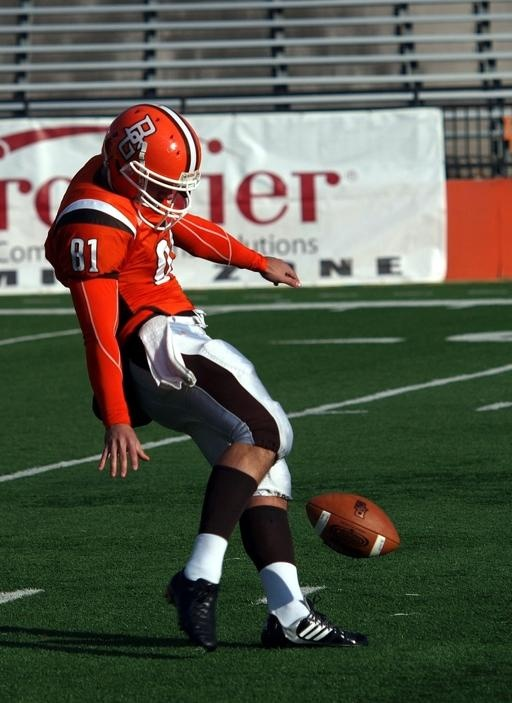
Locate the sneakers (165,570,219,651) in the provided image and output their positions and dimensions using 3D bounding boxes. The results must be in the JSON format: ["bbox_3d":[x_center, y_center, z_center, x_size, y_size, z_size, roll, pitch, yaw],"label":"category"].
[{"bbox_3d":[-0.151,0.639,2.484,0.124,0.180,0.149,-5,11,-6],"label":"sneakers"}]

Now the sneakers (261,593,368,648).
[{"bbox_3d":[0.202,0.717,2.649,0.379,0.112,0.101,1,-3,-5],"label":"sneakers"}]

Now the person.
[{"bbox_3d":[-0.198,0.029,2.827,0.634,1.453,1.068,-7,12,-14],"label":"person"}]

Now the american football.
[{"bbox_3d":[0.267,0.487,2.828,0.278,0.141,0.153,20,40,-7],"label":"american football"}]
